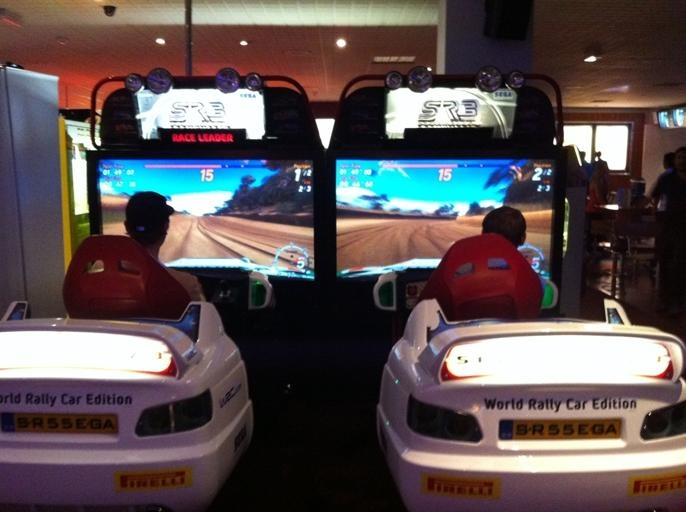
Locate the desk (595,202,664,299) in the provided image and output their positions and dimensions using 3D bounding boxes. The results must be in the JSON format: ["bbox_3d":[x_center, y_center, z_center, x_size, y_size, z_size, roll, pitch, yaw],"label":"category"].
[{"bbox_3d":[4.467,-0.039,8.443,0.962,1.161,0.895,-3,-1,43],"label":"desk"}]

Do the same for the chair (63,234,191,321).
[{"bbox_3d":[-1.050,0.025,2.892,0.399,0.433,0.506,5,21,6],"label":"chair"}]

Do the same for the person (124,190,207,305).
[{"bbox_3d":[-1.117,-0.049,3.231,0.720,0.637,0.372,1,3,9],"label":"person"}]

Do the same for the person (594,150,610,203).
[{"bbox_3d":[5.115,-1.488,11.109,0.303,0.794,0.797,10,15,24],"label":"person"}]

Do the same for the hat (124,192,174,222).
[{"bbox_3d":[-1.080,-0.292,3.165,0.263,0.146,0.172,-4,15,-30],"label":"hat"}]

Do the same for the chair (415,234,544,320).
[{"bbox_3d":[0.718,0.066,2.970,0.409,0.502,0.546,0,10,5],"label":"chair"}]

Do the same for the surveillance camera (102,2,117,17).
[{"bbox_3d":[-3.699,-3.937,8.926,0.239,0.165,0.234,6,29,1],"label":"surveillance camera"}]
